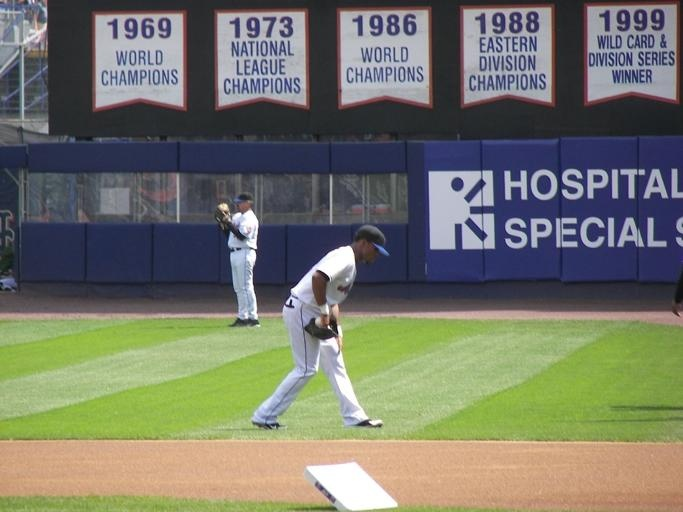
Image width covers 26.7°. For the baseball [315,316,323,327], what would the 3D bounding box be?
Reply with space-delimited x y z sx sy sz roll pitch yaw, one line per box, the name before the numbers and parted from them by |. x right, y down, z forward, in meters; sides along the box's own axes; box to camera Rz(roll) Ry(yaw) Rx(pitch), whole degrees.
baseball | -0.349 1.037 22.558 0.127 0.137 0.103 -11 4 5

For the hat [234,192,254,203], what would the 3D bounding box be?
hat | -1.903 -1.146 28.107 0.308 0.179 0.238 16 -1 2

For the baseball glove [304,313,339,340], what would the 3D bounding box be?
baseball glove | -0.316 1.121 22.612 0.419 0.173 0.312 -15 -45 33

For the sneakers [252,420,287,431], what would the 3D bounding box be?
sneakers | -1.143 2.669 23.007 0.563 0.270 0.204 1 3 -1

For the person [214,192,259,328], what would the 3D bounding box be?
person | -2.009 0.068 28.620 0.706 2.631 1.458 -1 1 -3

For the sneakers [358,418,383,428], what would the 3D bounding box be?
sneakers | 0.457 2.663 22.902 0.266 0.100 0.199 -2 -1 5

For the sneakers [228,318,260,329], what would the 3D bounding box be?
sneakers | -1.914 1.318 28.434 0.506 0.240 0.193 3 0 1

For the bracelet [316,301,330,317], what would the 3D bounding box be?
bracelet | -0.273 0.828 22.548 0.164 0.192 0.167 -5 16 -7

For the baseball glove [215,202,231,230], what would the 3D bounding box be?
baseball glove | -2.257 -0.771 28.189 0.353 0.521 0.506 0 8 0

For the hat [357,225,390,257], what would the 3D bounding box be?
hat | 0.457 -0.262 22.921 0.475 0.441 0.949 -1 1 1
